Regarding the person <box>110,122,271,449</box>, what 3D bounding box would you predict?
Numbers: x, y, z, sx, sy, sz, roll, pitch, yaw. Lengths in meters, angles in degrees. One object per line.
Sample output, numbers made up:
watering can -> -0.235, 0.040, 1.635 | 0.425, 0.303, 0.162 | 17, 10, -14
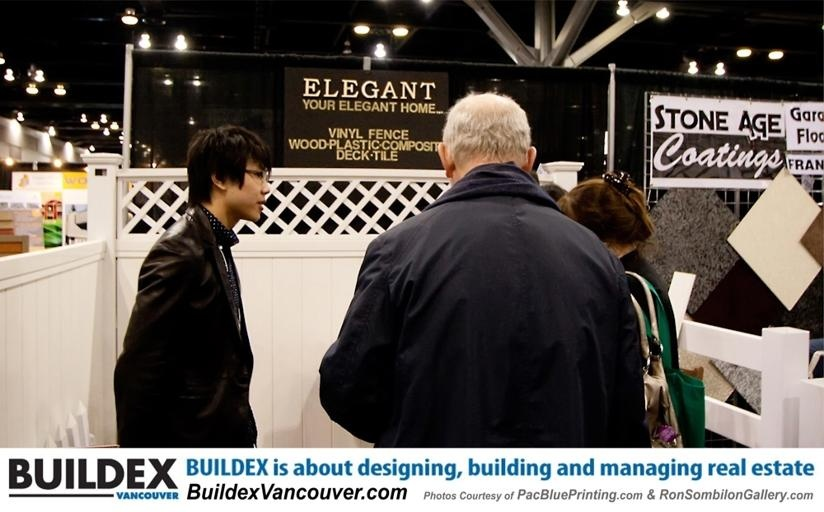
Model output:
person -> -1.350, 0.181, 4.344 | 0.830, 1.985, 0.557 | 2, 5, -7
